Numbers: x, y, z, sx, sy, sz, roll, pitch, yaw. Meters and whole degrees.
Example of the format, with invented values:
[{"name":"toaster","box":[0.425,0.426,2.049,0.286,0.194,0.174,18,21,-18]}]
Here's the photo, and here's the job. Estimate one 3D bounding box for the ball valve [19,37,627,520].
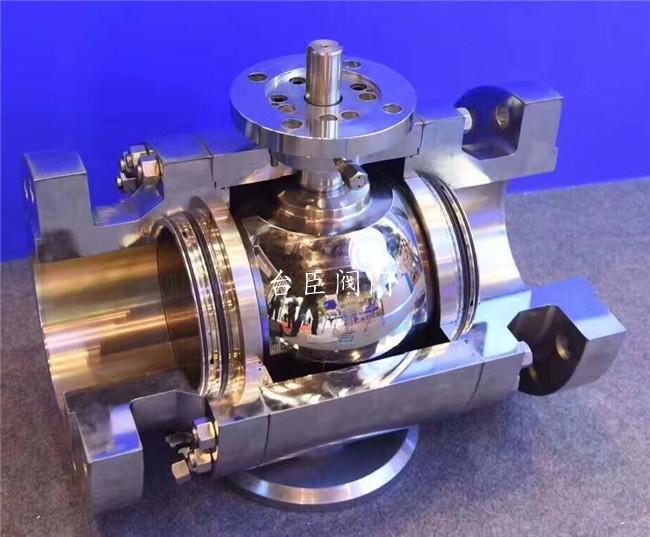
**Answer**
[{"name":"ball valve","box":[0.009,0.016,1.156,0.899,0.899,0.599,-9,20,-6]}]
